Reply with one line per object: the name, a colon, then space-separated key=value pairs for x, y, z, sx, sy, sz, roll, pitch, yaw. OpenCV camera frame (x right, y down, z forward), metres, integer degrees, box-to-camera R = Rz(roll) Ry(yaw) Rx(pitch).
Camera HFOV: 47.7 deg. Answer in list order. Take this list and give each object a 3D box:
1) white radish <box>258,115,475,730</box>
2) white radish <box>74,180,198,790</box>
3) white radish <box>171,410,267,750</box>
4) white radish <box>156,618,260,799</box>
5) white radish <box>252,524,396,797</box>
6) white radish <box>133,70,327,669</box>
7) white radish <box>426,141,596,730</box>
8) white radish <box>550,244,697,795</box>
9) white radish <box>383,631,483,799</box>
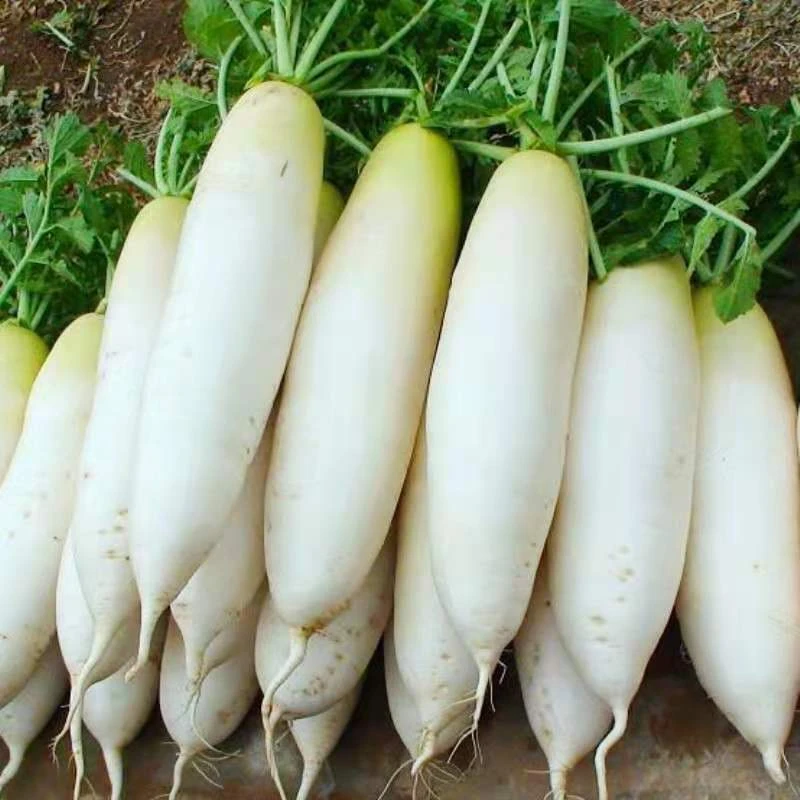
white radish: x=-0.034 y=0.003 z=1.152 sx=0.178 sy=0.759 sz=0.189 roll=16 pitch=-19 yaw=-13
white radish: x=-0.332 y=0.041 z=1.223 sx=0.128 sy=0.894 sz=0.133 roll=12 pitch=-24 yaw=-21
white radish: x=-0.208 y=0.222 z=1.152 sx=0.106 sy=0.400 sz=0.122 roll=12 pitch=5 yaw=7
white radish: x=-0.268 y=0.411 z=1.259 sx=0.112 sy=0.263 sz=0.103 roll=15 pitch=-2 yaw=-20
white radish: x=-0.128 y=0.301 z=1.136 sx=0.122 sy=0.387 sz=0.134 roll=14 pitch=2 yaw=18
white radish: x=-0.199 y=-0.064 z=1.147 sx=0.164 sy=0.759 sz=0.193 roll=5 pitch=-15 yaw=14
white radish: x=0.127 y=0.034 z=1.098 sx=0.165 sy=0.679 sz=0.166 roll=13 pitch=-17 yaw=-39
white radish: x=0.288 y=0.128 z=1.131 sx=0.155 sy=0.650 sz=0.166 roll=1 pitch=-11 yaw=15
white radish: x=0.046 y=0.401 z=1.188 sx=0.102 sy=0.221 sz=0.059 roll=19 pitch=-1 yaw=32
